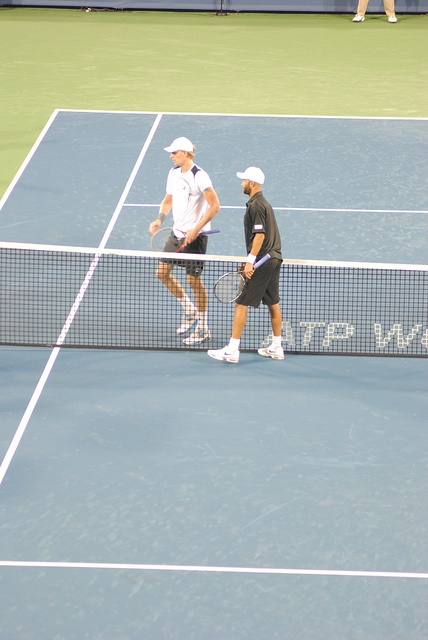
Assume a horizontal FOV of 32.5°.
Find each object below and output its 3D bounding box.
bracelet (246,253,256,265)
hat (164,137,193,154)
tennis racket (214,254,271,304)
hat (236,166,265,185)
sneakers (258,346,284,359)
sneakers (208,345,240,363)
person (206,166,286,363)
[{"bbox_3d":[0.323,-0.534,6.350,0.078,0.097,0.081,1,16,-2],"label":"bracelet"},{"bbox_3d":[-0.309,-1.652,6.991,0.342,0.163,0.224,0,11,-5],"label":"hat"},{"bbox_3d":[0.234,-0.340,6.671,0.058,0.248,0.649,-10,-18,-39],"label":"tennis racket"},{"bbox_3d":[0.268,-1.257,6.500,0.336,0.145,0.209,12,14,11],"label":"hat"},{"bbox_3d":[0.527,0.290,6.870,0.256,0.107,0.097,14,13,42],"label":"sneakers"},{"bbox_3d":[0.100,0.320,6.705,0.329,0.141,0.116,13,-12,12],"label":"sneakers"},{"bbox_3d":[0.370,-0.471,6.597,0.704,1.741,0.430,-8,20,-31],"label":"person"}]
